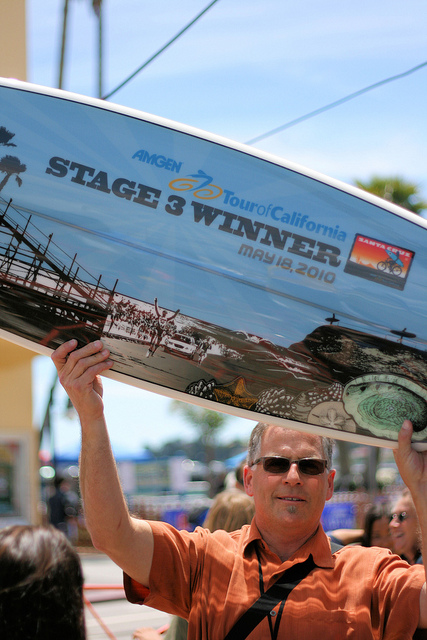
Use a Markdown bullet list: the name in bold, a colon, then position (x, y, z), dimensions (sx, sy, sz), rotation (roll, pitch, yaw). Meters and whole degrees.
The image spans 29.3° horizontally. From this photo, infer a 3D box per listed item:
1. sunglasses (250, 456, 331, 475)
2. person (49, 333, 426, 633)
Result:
- **sunglasses**: position (0.277, 0.515, 2.921), dimensions (0.268, 0.068, 0.101), rotation (4, -6, 6)
- **person**: position (0.085, 0.583, 2.827), dimensions (1.314, 0.963, 0.474), rotation (6, -6, 5)
